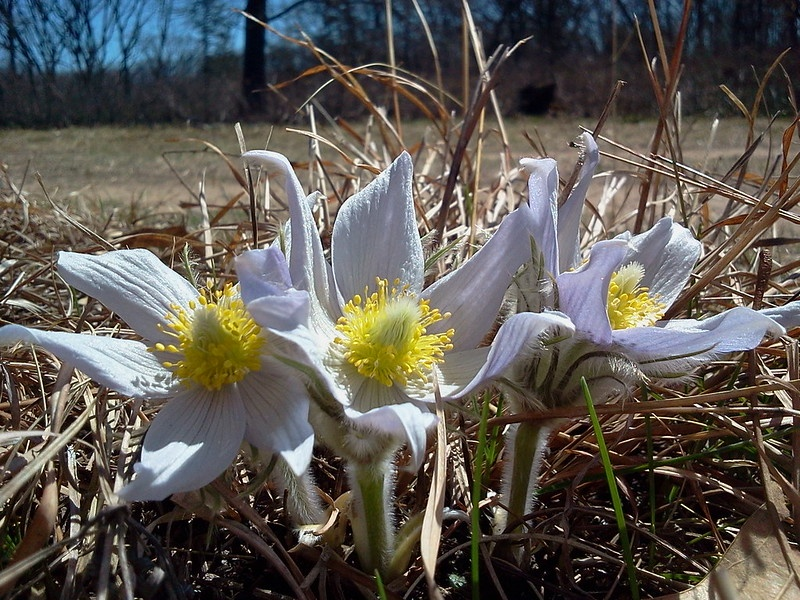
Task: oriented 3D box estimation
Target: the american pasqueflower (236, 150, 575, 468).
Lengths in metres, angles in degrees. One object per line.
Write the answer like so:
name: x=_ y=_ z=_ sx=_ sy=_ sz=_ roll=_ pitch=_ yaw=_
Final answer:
american pasqueflower: x=-0.068 y=0.100 z=1.860 sx=0.703 sy=0.387 sz=0.722 roll=18 pitch=47 yaw=-29
